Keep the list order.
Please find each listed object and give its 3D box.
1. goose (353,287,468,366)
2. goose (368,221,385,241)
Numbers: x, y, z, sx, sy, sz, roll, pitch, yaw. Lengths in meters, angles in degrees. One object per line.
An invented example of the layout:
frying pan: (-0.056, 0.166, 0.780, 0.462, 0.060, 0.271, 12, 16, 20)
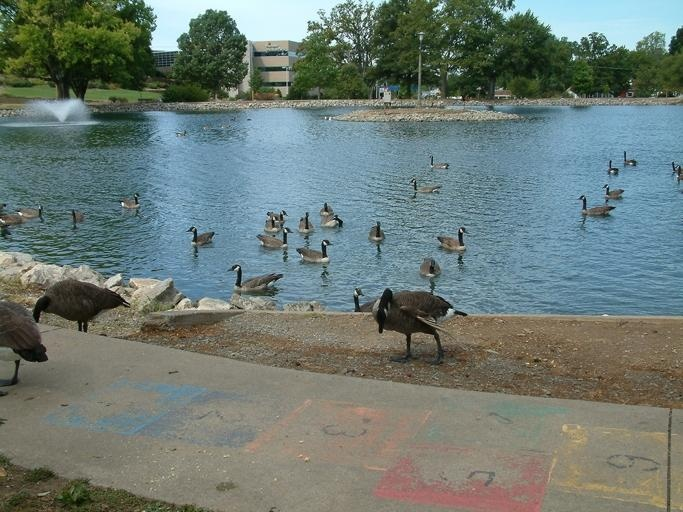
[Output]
goose: (1.477, 1.319, 12.636, 1.582, 1.610, 2.123, 1, 12, 5)
goose: (1.547, -1.077, 26.306, 0.718, 0.807, 0.640, 1, 13, 3)
